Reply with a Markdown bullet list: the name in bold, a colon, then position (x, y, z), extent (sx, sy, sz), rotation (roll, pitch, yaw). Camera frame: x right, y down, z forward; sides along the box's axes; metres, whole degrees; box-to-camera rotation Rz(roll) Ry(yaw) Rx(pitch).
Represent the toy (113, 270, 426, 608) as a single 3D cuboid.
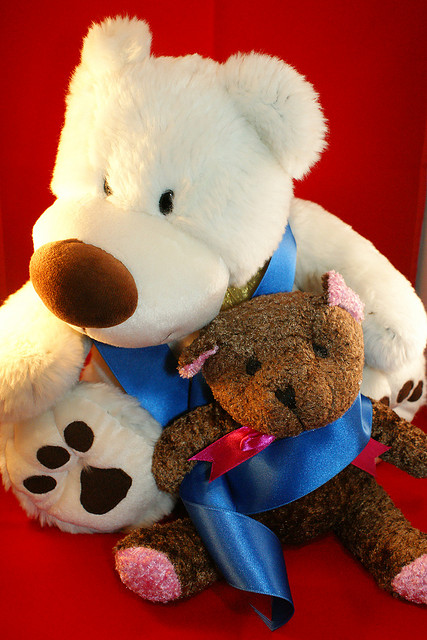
- **toy**: position (0.044, 0.132, 0.699), extent (0.305, 0.267, 0.175), rotation (-6, 22, 0)
